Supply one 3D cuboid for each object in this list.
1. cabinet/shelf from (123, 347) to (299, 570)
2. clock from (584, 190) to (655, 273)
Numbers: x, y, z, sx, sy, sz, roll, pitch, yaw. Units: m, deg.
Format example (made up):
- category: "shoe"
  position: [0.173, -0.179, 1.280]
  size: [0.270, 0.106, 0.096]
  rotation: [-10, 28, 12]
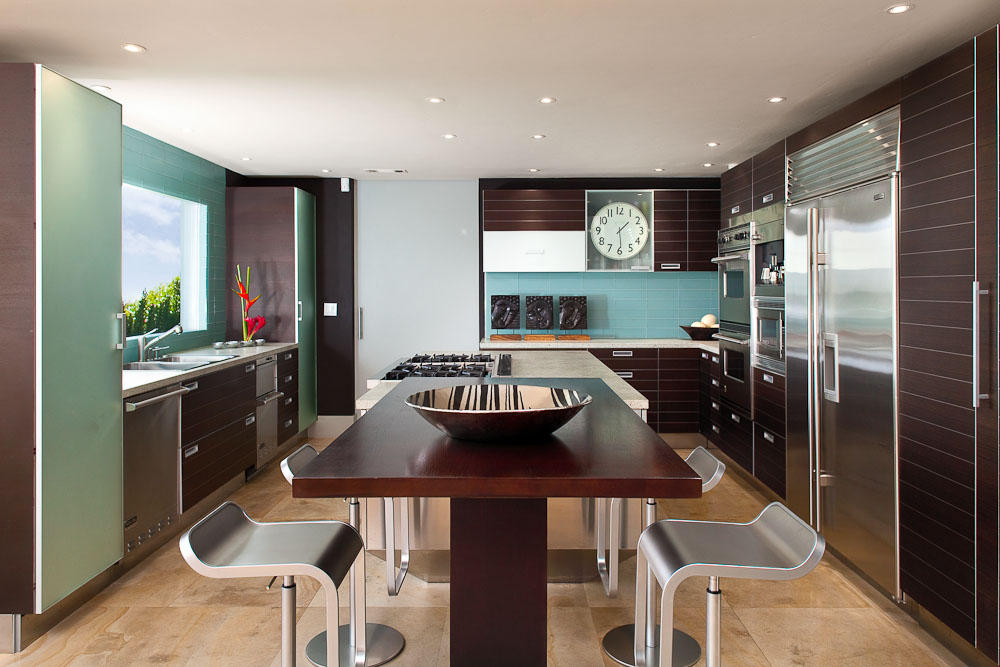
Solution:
- category: "cabinet/shelf"
  position: [-2.563, 0.688, 5.403]
  size: [0.800, 1.147, 3.199]
  rotation: [10, 2, -2]
- category: "clock"
  position: [1.253, -1.112, 6.847]
  size: [0.848, 0.943, 0.096]
  rotation: [0, 1, 1]
